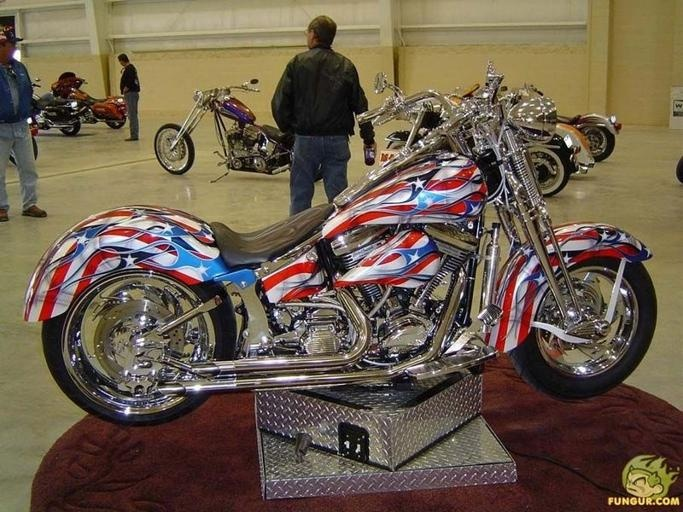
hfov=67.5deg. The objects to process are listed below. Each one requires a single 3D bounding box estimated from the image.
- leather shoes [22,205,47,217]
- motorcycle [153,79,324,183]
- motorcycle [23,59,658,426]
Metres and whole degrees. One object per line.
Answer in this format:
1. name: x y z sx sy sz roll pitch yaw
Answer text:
1. leather shoes: -3.711 -0.536 6.225 0.346 0.146 0.125 1 10 10
2. motorcycle: -1.505 -2.142 8.605 3.120 1.635 1.450 12 24 22
3. motorcycle: 0.005 -0.239 2.777 3.395 1.769 1.308 -3 28 -2
